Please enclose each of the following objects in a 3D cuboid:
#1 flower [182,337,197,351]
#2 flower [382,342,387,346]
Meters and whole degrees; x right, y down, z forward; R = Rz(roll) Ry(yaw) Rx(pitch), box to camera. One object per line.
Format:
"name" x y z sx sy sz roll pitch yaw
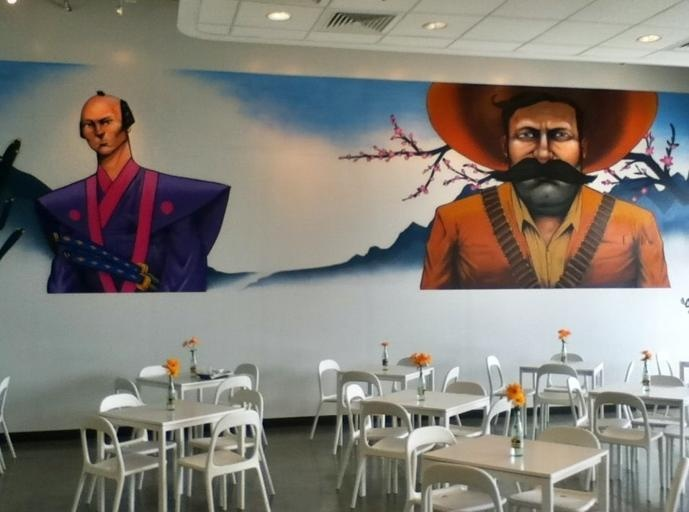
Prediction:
"flower" -1.968 1.138 8.102 0.243 0.133 0.317 -16 0 -25
"flower" 0.526 1.179 8.304 0.068 0.069 0.072 -1 1 19
